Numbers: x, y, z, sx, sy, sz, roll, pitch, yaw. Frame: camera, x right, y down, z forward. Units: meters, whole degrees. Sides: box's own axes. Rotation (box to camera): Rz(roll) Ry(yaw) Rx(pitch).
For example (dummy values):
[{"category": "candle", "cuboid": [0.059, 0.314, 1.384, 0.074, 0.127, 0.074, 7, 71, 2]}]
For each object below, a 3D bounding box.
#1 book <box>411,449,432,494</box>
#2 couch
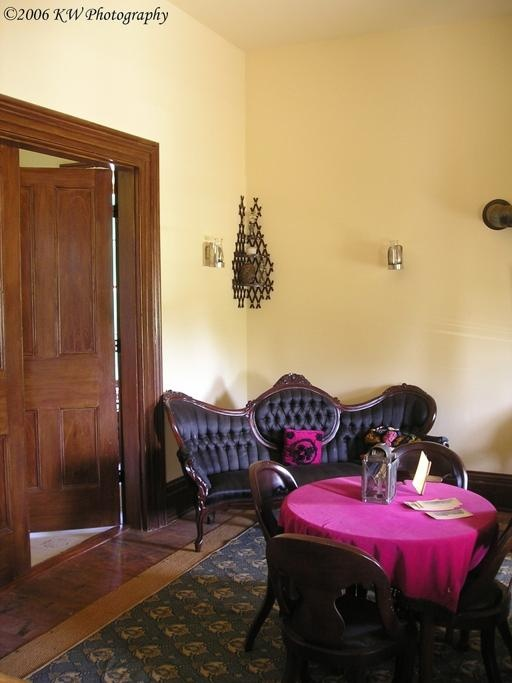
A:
[{"category": "book", "cuboid": [0.770, 0.612, 2.587, 0.019, 0.209, 0.169, 12, -20, -16]}, {"category": "couch", "cuboid": [0.430, 0.905, 4.356, 2.397, 0.970, 0.797, 1, 1, -22]}]
